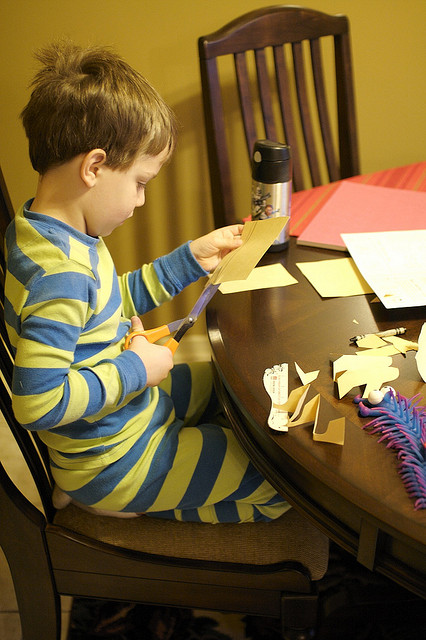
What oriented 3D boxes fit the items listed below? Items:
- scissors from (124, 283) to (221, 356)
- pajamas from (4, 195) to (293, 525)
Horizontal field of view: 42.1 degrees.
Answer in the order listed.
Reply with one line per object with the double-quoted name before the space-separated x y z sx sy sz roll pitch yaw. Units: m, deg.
"scissors" -0.086 -0.012 1.101 0.254 0.110 0.020 -40 15 31
"pajamas" -0.125 0.043 0.856 0.326 0.484 0.378 -13 18 -11
